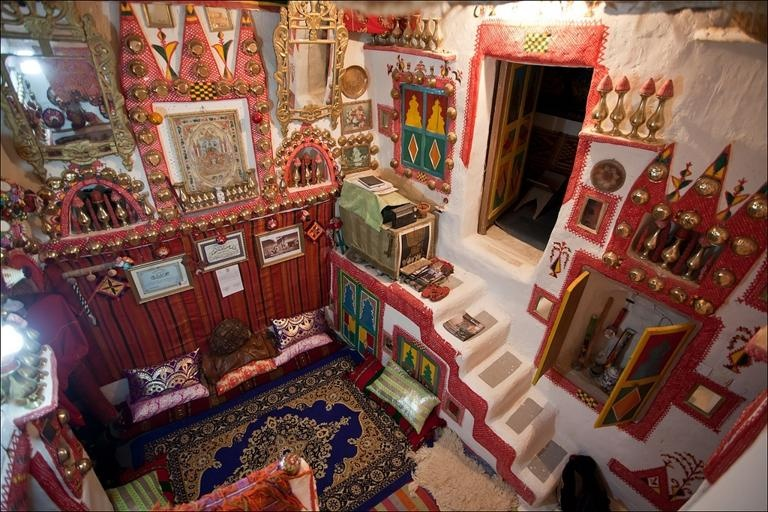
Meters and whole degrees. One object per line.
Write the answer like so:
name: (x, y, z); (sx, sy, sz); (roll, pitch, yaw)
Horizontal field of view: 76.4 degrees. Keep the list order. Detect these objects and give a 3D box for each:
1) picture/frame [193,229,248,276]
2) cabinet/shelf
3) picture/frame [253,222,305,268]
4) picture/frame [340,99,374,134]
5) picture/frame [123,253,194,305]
picture/frame: (-2.103, -0.074, 6.194); (0.570, 0.436, 0.022); (-19, 42, -29)
cabinet/shelf: (2.591, 0.907, 5.118); (1.076, 1.651, 1.216); (-27, 49, -32)
picture/frame: (-1.445, -0.175, 6.554); (0.547, 0.471, 0.045); (-18, 39, -26)
picture/frame: (-0.389, -1.874, 6.503); (0.390, 0.344, 0.040); (-24, 30, -33)
picture/frame: (-2.778, 0.256, 5.942); (0.557, 0.496, 0.056); (-18, 35, -23)
